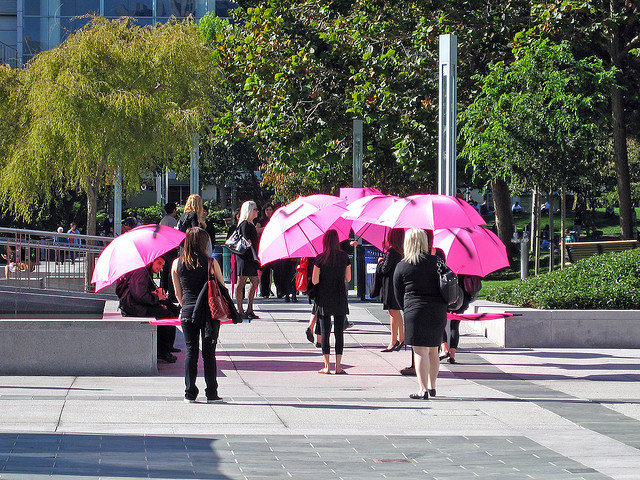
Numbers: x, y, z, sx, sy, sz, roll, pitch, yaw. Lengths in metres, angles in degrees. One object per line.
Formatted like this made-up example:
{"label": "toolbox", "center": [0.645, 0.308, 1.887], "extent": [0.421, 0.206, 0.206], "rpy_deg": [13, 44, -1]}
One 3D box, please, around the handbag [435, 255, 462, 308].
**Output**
{"label": "handbag", "center": [1.937, 0.650, 16.038], "extent": [0.349, 0.904, 0.611], "rpy_deg": [-9, 12, 0]}

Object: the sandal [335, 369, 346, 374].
{"label": "sandal", "center": [0.339, 2.148, 17.401], "extent": [0.207, 0.081, 0.080], "rpy_deg": [0, -2, -5]}

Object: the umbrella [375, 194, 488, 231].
{"label": "umbrella", "center": [1.751, -0.447, 17.352], "extent": [1.212, 0.431, 1.247], "rpy_deg": [0, 0, -6]}

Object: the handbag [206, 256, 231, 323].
{"label": "handbag", "center": [-1.516, 0.729, 15.443], "extent": [0.277, 0.910, 0.447], "rpy_deg": [-7, 13, -42]}

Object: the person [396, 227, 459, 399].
{"label": "person", "center": [1.576, 1.122, 15.848], "extent": [0.884, 2.539, 0.382], "rpy_deg": [2, 9, 3]}

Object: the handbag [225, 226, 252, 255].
{"label": "handbag", "center": [-1.585, 0.000, 21.083], "extent": [0.399, 0.553, 0.213], "rpy_deg": [28, -18, 8]}

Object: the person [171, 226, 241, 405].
{"label": "person", "center": [-1.744, 1.102, 15.605], "extent": [0.988, 2.547, 0.582], "rpy_deg": [7, 11, 32]}

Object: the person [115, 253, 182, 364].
{"label": "person", "center": [-2.866, 1.066, 17.972], "extent": [0.961, 1.812, 0.798], "rpy_deg": [4, 8, -4]}

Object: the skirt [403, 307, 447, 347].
{"label": "skirt", "center": [1.550, 1.288, 15.954], "extent": [0.784, 0.766, 0.504], "rpy_deg": [2, -6, -12]}

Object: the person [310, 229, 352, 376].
{"label": "person", "center": [0.181, 1.023, 17.314], "extent": [0.631, 2.361, 0.422], "rpy_deg": [1, 9, 2]}

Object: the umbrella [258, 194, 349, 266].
{"label": "umbrella", "center": [-0.352, -0.196, 19.208], "extent": [1.699, 1.078, 0.805], "rpy_deg": [-4, 11, -26]}

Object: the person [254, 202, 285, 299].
{"label": "person", "center": [-1.132, 0.268, 24.944], "extent": [0.796, 2.526, 0.786], "rpy_deg": [-1, 18, -1]}

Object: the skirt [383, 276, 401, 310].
{"label": "skirt", "center": [1.257, 0.946, 18.255], "extent": [0.253, 0.618, 0.485], "rpy_deg": [-1, 10, -14]}

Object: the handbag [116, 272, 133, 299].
{"label": "handbag", "center": [-3.309, 0.727, 17.790], "extent": [0.269, 0.393, 0.357], "rpy_deg": [-13, 25, -16]}
